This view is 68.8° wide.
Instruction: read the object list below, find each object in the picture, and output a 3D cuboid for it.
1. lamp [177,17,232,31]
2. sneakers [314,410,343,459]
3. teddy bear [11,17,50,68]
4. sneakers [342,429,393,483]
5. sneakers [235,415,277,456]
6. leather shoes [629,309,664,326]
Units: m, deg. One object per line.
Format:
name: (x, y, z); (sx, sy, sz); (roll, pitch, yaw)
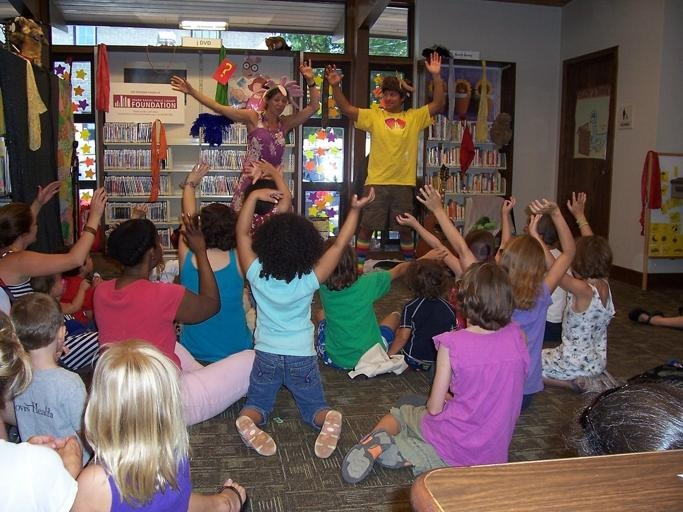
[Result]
lamp: (-1.986, -3.302, 7.138); (0.609, 0.172, 0.410); (-2, 11, -15)
sneakers: (-0.067, 0.846, 2.437); (0.134, 0.167, 0.239); (1, 10, -2)
teddy bear: (-2.817, -1.927, 4.506); (0.209, 0.381, 0.323); (4, 10, 16)
sneakers: (0.107, 0.881, 2.269); (0.290, 0.123, 0.114); (-39, -4, -32)
sneakers: (-0.410, 0.851, 2.415); (0.115, 0.100, 0.220); (-38, 73, -24)
leather shoes: (2.767, 0.547, 4.526); (0.273, 0.112, 0.097); (5, 6, 7)
